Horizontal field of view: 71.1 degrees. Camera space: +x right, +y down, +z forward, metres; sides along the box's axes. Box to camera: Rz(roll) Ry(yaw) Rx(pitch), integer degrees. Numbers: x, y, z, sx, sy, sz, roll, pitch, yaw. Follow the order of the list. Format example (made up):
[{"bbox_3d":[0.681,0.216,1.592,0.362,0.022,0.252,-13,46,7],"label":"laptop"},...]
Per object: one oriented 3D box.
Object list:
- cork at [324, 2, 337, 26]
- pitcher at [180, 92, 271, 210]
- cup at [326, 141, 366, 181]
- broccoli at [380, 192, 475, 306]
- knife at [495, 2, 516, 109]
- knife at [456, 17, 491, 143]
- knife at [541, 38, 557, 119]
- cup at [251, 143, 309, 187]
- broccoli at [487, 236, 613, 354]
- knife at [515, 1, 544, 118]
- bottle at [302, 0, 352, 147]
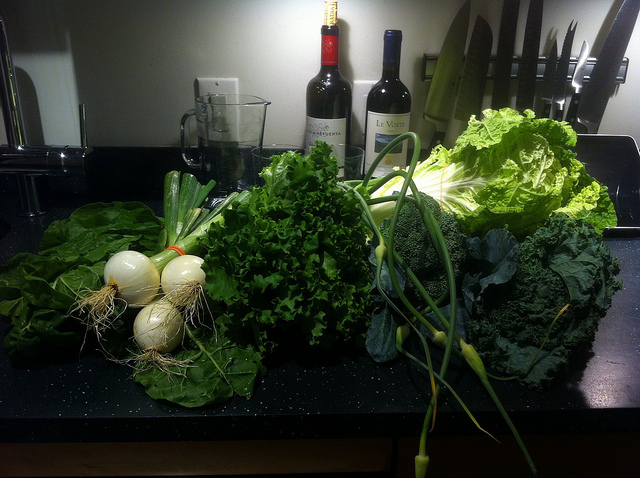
[{"bbox_3d":[0.026,-0.570,1.136,0.029,0.053,0.023,7,23,10],"label":"cork"},{"bbox_3d":[-0.280,-0.255,1.300,0.244,0.298,0.184,4,10,0],"label":"pitcher"},{"bbox_3d":[0.070,-0.209,1.156,0.138,0.104,0.113,0,18,-2],"label":"cup"},{"bbox_3d":[0.193,0.026,0.836,0.137,0.185,0.132,-10,26,-27],"label":"broccoli"},{"bbox_3d":[0.522,-0.501,1.263,0.029,0.293,0.004,8,26,8],"label":"knife"},{"bbox_3d":[0.446,-0.459,1.276,0.069,0.309,0.091,10,24,18],"label":"knife"},{"bbox_3d":[0.666,-0.435,1.298,0.044,0.031,0.355,15,-12,28],"label":"knife"},{"bbox_3d":[-0.093,-0.212,1.169,0.160,0.124,0.144,-4,21,-12],"label":"cup"},{"bbox_3d":[0.413,0.063,0.776,0.184,0.075,0.167,-20,16,24],"label":"broccoli"},{"bbox_3d":[0.592,-0.503,1.255,0.049,0.292,0.064,6,23,9],"label":"knife"},{"bbox_3d":[0.023,-0.428,1.230,0.133,0.401,0.228,2,23,-3],"label":"bottle"}]
